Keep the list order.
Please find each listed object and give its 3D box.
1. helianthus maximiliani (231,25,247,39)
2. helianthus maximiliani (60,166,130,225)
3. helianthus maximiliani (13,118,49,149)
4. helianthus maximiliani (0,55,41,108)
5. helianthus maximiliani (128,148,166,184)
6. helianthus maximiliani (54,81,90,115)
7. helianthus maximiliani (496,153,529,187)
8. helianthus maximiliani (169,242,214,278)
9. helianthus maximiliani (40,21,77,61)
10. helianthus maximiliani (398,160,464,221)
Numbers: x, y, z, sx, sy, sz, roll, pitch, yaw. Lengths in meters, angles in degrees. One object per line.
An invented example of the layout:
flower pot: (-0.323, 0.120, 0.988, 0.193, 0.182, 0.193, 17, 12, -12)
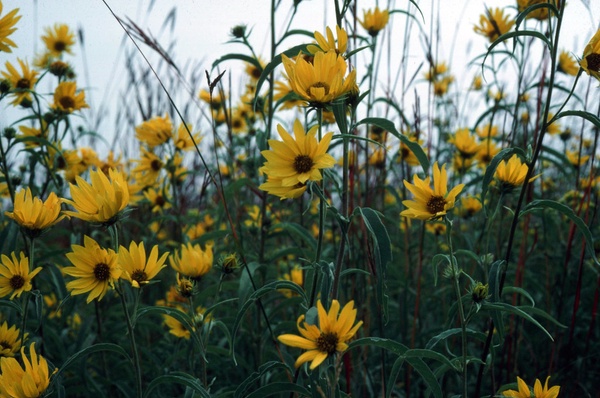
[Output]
helianthus maximiliani: (-0.330, -0.923, 3.279, 0.072, 0.093, 0.088, 3, -2, -15)
helianthus maximiliani: (-0.910, -0.007, 2.733, 0.205, 0.316, 0.141, -6, -16, 19)
helianthus maximiliani: (-1.393, -0.354, 3.174, 0.153, 0.117, 0.322, 4, -3, -27)
helianthus maximiliani: (-1.380, -0.591, 3.007, 0.226, 0.193, 0.169, 1, -3, 39)
helianthus maximiliani: (-0.921, -0.191, 3.657, 0.186, 0.227, 0.268, 3, -3, -19)
helianthus maximiliani: (-1.196, -0.539, 3.178, 0.155, 0.128, 0.228, 2, -3, 8)
helianthus maximiliani: (1.026, -0.148, 2.894, 0.129, 0.166, 0.200, 3, -3, -7)
helianthus maximiliani: (-0.564, 0.315, 3.121, 0.209, 0.177, 0.216, 4, -3, -17)
helianthus maximiliani: (-1.368, -0.909, 3.461, 0.197, 0.270, 0.270, 4, -3, -34)
helianthus maximiliani: (0.624, -0.040, 2.837, 0.281, 0.277, 0.171, 2, -2, 18)
